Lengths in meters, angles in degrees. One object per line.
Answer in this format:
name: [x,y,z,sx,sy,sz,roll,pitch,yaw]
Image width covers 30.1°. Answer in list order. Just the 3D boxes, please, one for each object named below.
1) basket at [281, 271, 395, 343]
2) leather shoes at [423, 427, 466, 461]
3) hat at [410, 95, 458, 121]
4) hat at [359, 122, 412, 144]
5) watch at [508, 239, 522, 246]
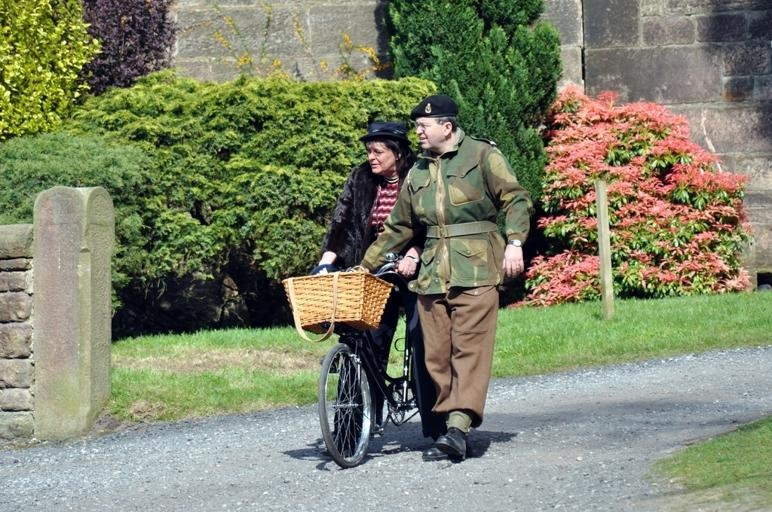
basket: [-0.556,0.547,15.484,0.784,0.527,0.917,-5,-7,27]
leather shoes: [0.631,2.073,15.664,0.256,0.262,0.560,3,-15,27]
hat: [0.523,-1.627,15.919,0.390,0.184,0.279,5,-2,0]
hat: [0.026,-1.394,16.192,0.342,0.118,0.313,8,-7,-39]
watch: [1.399,-0.135,15.696,0.116,0.069,0.113,3,-1,-15]
